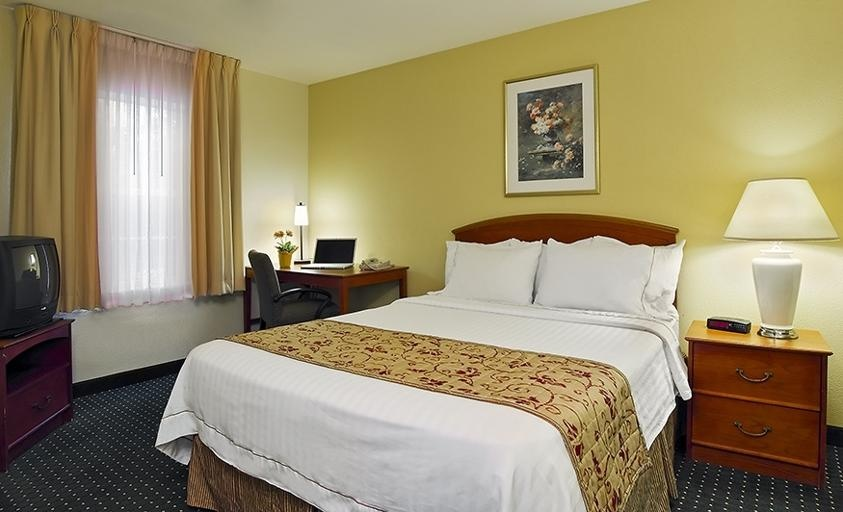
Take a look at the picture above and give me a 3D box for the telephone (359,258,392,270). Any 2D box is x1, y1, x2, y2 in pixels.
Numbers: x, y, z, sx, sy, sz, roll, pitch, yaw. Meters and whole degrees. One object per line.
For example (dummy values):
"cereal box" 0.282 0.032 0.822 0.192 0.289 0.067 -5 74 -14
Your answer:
"telephone" -0.494 0.102 5.570 0.199 0.087 0.203 4 3 35

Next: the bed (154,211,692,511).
"bed" 0.129 0.675 4.164 2.757 1.703 2.820 -2 -5 38

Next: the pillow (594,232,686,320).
"pillow" 1.866 0.199 4.328 0.669 0.627 0.337 3 -23 35

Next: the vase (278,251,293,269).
"vase" -1.524 0.049 5.861 0.179 0.174 0.188 -1 -1 1

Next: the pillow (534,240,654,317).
"pillow" 1.519 0.209 4.371 0.605 0.418 0.214 3 -11 31
